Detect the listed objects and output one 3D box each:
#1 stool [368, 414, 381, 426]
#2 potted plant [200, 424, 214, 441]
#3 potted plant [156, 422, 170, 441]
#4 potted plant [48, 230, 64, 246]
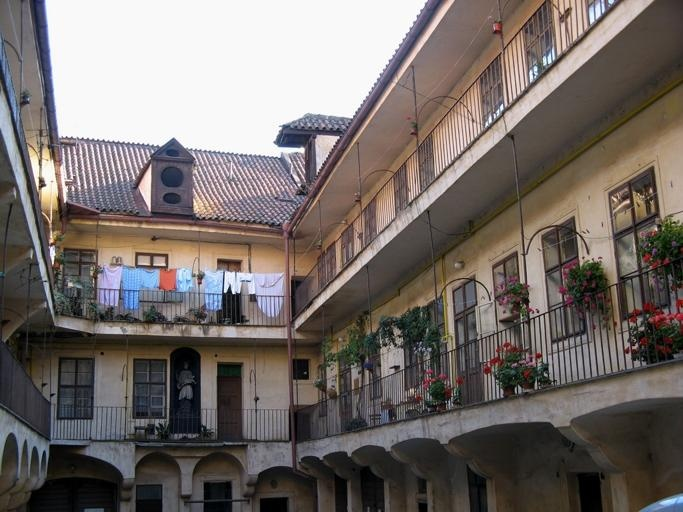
[{"bbox_3d":[0.842,4.203,21.757,0.296,0.200,0.353,-13,13,5],"label":"stool"},{"bbox_3d":[-4.261,5.546,26.738,0.427,0.541,0.697,-3,-21,1],"label":"potted plant"},{"bbox_3d":[-5.532,5.385,26.128,0.432,0.641,0.662,1,-21,-10],"label":"potted plant"},{"bbox_3d":[-8.518,-0.562,25.162,0.300,0.553,0.452,16,20,40],"label":"potted plant"}]
